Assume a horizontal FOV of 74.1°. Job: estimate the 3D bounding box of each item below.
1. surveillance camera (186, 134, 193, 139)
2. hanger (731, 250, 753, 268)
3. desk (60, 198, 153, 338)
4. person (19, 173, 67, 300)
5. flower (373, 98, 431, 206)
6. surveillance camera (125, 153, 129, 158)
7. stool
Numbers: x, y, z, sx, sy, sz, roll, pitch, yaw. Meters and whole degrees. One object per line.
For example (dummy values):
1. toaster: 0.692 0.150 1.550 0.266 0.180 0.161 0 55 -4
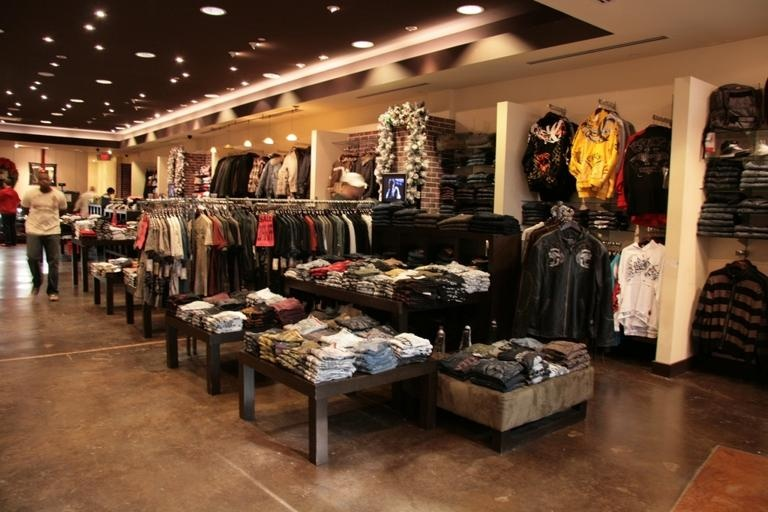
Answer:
1. surveillance camera: -6.290 -3.814 16.433 0.160 0.095 0.149 1 -2 11
2. hanger: 4.495 0.042 6.378 0.254 0.250 0.250 -7 8 -38
3. desk: -5.296 -0.087 9.748 1.254 1.969 6.671 -6 12 -31
4. person: -6.149 -0.376 9.264 0.662 2.312 0.957 -6 14 -33
5. flower: 0.345 -1.748 8.825 0.647 1.696 0.951 -4 13 -26
6. surveillance camera: -11.401 -4.394 22.489 0.202 0.171 0.109 6 10 37
7. stool: 1.253 1.395 5.190 1.417 0.396 1.241 -4 1 -24
